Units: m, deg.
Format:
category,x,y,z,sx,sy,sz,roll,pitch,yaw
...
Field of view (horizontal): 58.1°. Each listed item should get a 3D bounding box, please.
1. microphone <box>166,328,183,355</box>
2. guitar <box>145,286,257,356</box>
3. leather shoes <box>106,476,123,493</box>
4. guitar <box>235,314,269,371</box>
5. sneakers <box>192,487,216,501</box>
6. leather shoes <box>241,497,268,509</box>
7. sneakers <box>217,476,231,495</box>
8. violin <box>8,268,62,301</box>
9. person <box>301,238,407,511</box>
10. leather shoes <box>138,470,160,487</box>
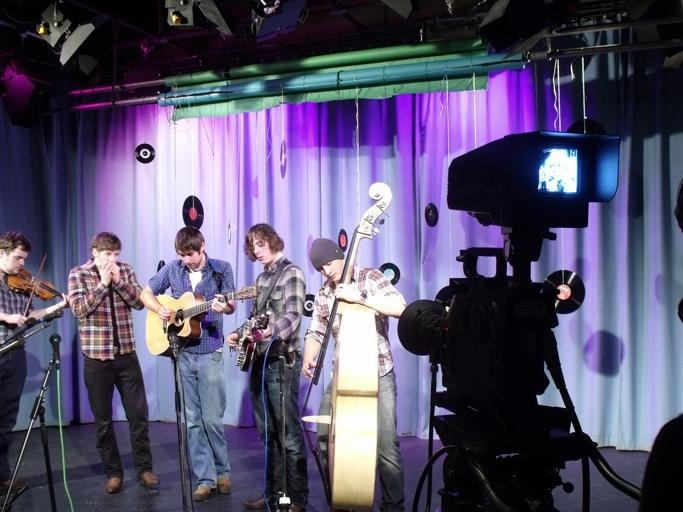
category,x,y,z,sx,sy,sz,roll,pitch,yaw
microphone,-1.196,0.614,4.431,0.088,0.286,0.042,-20,-23,27
guitar,-1.259,0.503,4.989,1.019,0.545,0.148,-22,-24,27
leather shoes,-1.883,1.884,5.105,0.138,0.116,0.182,-1,-2,-22
guitar,-0.611,0.587,4.444,0.105,0.237,0.466,6,-41,-20
sneakers,-1.095,1.881,4.852,0.064,0.083,0.189,-3,-20,14
leather shoes,-0.682,1.913,4.774,0.208,0.094,0.076,3,-8,15
sneakers,-0.950,1.854,4.980,0.057,0.132,0.182,4,-27,-9
violin,-2.721,0.293,5.493,0.095,0.223,0.552,-37,-25,6
person,0.172,0.822,4.397,0.493,1.885,0.893,-3,-3,-4
leather shoes,-1.599,1.858,5.123,0.085,0.105,0.217,4,-13,-34
